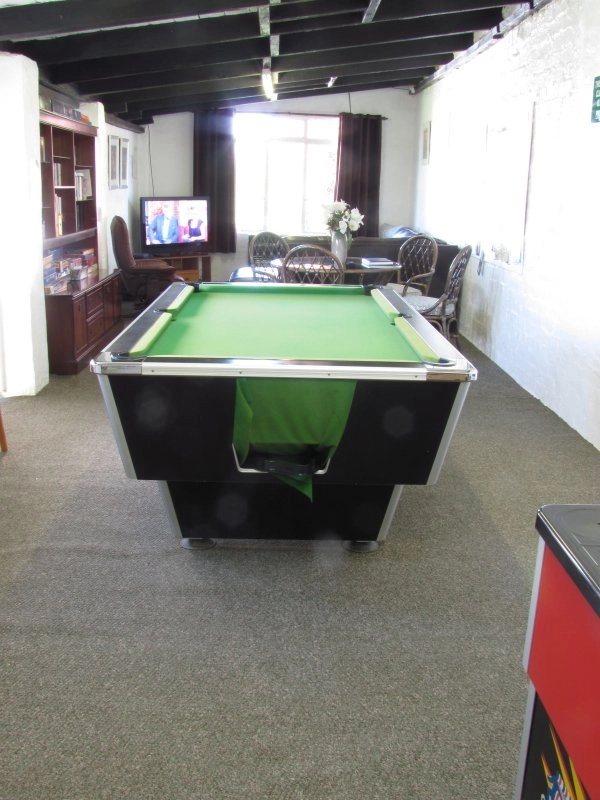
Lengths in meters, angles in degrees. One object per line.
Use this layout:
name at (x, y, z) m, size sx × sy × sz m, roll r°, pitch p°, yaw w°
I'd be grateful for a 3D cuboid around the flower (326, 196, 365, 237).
flower at (0.362, -1.520, 5.229) m, size 0.286 × 0.285 × 0.298 m, roll 3°, pitch 19°, yaw 3°

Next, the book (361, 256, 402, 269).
book at (0.706, -1.188, 5.424) m, size 0.330 × 0.036 × 0.380 m, roll 4°, pitch 19°, yaw 4°

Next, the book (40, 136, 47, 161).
book at (-1.944, -1.893, 4.666) m, size 0.037 × 0.184 × 0.098 m, roll -4°, pitch 20°, yaw -18°
